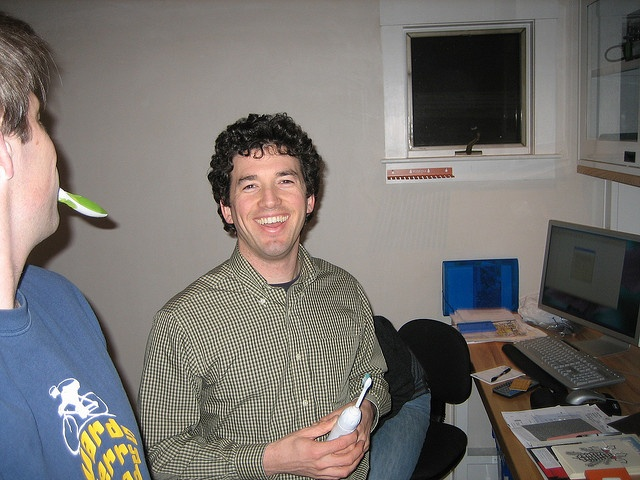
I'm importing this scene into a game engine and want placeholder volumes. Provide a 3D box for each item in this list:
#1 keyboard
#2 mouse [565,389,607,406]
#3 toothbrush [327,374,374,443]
[{"bbox_3d":[1.041,0.512,2.184,0.250,0.072,0.536,-5,8,-4],"label":"keyboard"},{"bbox_3d":[0.987,0.555,1.869,0.109,0.037,0.065,-7,10,-7],"label":"mouse"},{"bbox_3d":[0.070,0.427,1.347,0.116,0.199,0.132,-2,13,0],"label":"toothbrush"}]
